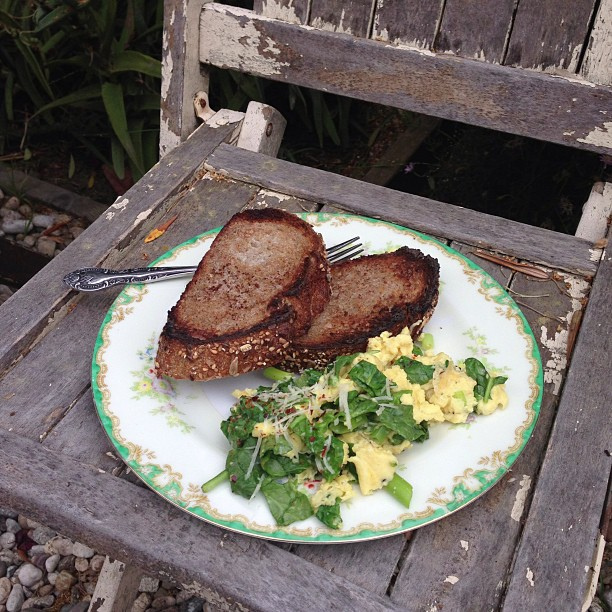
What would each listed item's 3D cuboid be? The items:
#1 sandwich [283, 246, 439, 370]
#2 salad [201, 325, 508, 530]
[{"bbox_3d":[0.144,0.002,1.482,0.309,0.103,0.430,19,41,24],"label":"sandwich"},{"bbox_3d":[0.094,0.211,1.125,0.414,0.076,0.298,-28,55,-22],"label":"salad"}]
